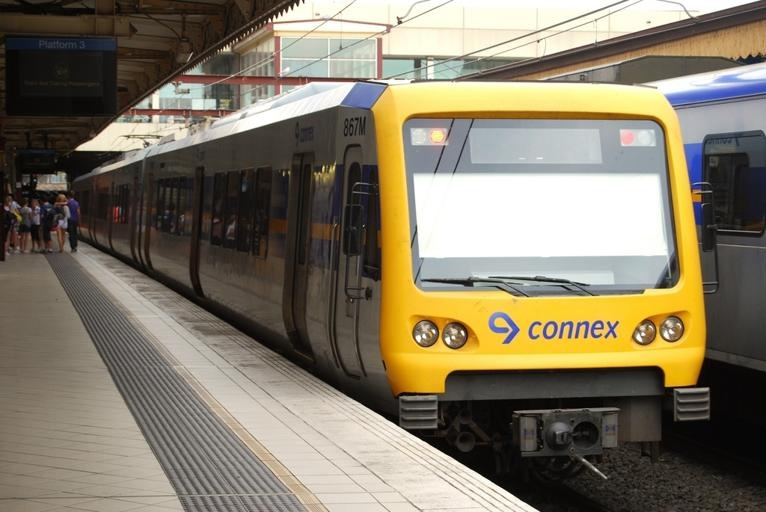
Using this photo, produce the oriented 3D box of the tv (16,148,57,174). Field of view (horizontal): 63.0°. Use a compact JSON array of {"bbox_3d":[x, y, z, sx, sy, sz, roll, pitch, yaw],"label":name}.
[{"bbox_3d":[-26.385,-7.267,47.561,2.529,0.916,2.555,-1,2,-41],"label":"tv"}]
